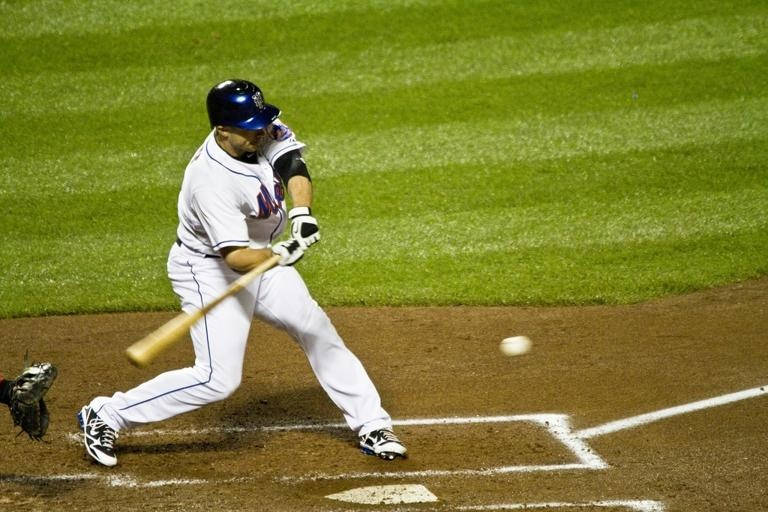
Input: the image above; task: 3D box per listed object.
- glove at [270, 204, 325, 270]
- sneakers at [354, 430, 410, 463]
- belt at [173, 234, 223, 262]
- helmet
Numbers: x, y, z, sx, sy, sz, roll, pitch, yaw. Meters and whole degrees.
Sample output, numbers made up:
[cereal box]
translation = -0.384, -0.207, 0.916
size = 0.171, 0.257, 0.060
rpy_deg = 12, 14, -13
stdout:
[glove]
translation = -0.818, -0.165, 12.962
size = 0.294, 0.563, 0.513
rpy_deg = 19, 23, 39
[sneakers]
translation = -0.014, 1.767, 13.059
size = 0.496, 0.191, 0.225
rpy_deg = 2, 5, 33
[belt]
translation = -1.735, -0.076, 12.994
size = 0.367, 0.152, 0.258
rpy_deg = 20, -4, -7
[helmet]
translation = -1.313, -1.372, 12.804
size = 0.644, 0.265, 0.434
rpy_deg = -1, 27, 10
